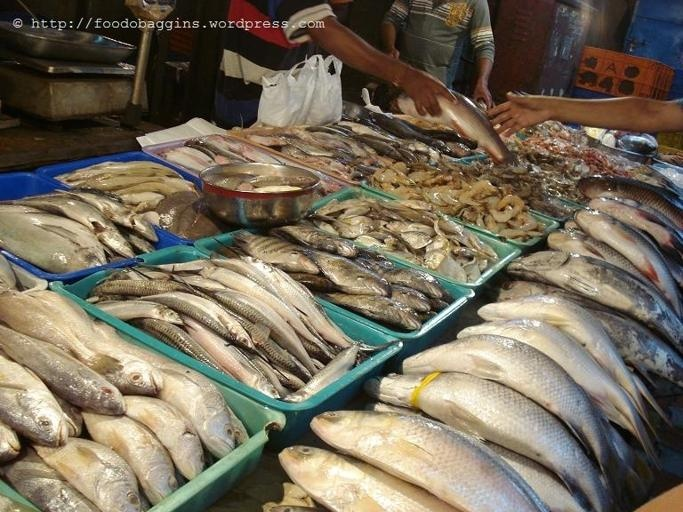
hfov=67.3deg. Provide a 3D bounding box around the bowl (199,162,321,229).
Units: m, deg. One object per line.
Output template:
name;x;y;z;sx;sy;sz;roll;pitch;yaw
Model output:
bowl;-0.370;-0.312;2.515;0.525;0.149;0.454;-11;23;-31

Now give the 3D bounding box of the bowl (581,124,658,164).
bowl;3.039;-1.188;5.551;0.916;0.245;0.623;24;30;27

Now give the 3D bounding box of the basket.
basket;5.375;-3.381;9.700;1.509;0.487;1.388;23;27;22

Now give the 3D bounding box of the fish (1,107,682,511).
fish;-0.022;0.161;2.080;1.937;0.376;1.988;23;33;33
